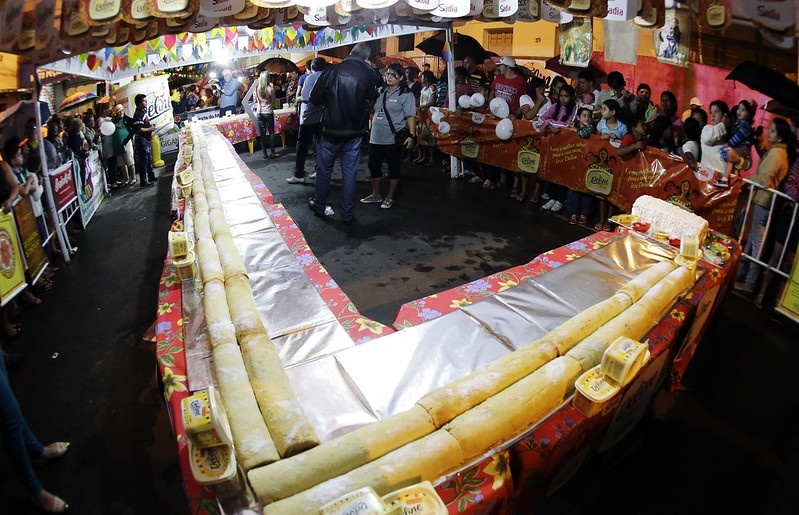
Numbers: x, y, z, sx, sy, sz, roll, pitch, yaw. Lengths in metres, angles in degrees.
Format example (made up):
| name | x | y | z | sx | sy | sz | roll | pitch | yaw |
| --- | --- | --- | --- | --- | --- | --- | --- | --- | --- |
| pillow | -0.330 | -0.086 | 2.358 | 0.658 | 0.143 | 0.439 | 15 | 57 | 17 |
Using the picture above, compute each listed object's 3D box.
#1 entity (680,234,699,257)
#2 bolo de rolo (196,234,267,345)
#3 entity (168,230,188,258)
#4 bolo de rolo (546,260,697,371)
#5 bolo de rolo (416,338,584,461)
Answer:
| name | x | y | z | sx | sy | sz | roll | pitch | yaw |
| --- | --- | --- | --- | --- | --- | --- | --- | --- | --- |
| entity | 2.225 | -0.095 | 3.244 | 0.158 | 0.215 | 0.155 | -7 | 5 | -43 |
| bolo de rolo | -1.100 | 0.200 | 2.927 | 0.255 | 0.529 | 0.898 | -6 | -10 | 36 |
| entity | -1.638 | -0.104 | 3.269 | 0.133 | 0.204 | 0.199 | -7 | 23 | -29 |
| bolo de rolo | 1.555 | 0.333 | 2.884 | 1.481 | 0.235 | 0.413 | -26 | 27 | -27 |
| bolo de rolo | 0.621 | 0.787 | 2.417 | 1.048 | 0.270 | 0.298 | -24 | 35 | -17 |
